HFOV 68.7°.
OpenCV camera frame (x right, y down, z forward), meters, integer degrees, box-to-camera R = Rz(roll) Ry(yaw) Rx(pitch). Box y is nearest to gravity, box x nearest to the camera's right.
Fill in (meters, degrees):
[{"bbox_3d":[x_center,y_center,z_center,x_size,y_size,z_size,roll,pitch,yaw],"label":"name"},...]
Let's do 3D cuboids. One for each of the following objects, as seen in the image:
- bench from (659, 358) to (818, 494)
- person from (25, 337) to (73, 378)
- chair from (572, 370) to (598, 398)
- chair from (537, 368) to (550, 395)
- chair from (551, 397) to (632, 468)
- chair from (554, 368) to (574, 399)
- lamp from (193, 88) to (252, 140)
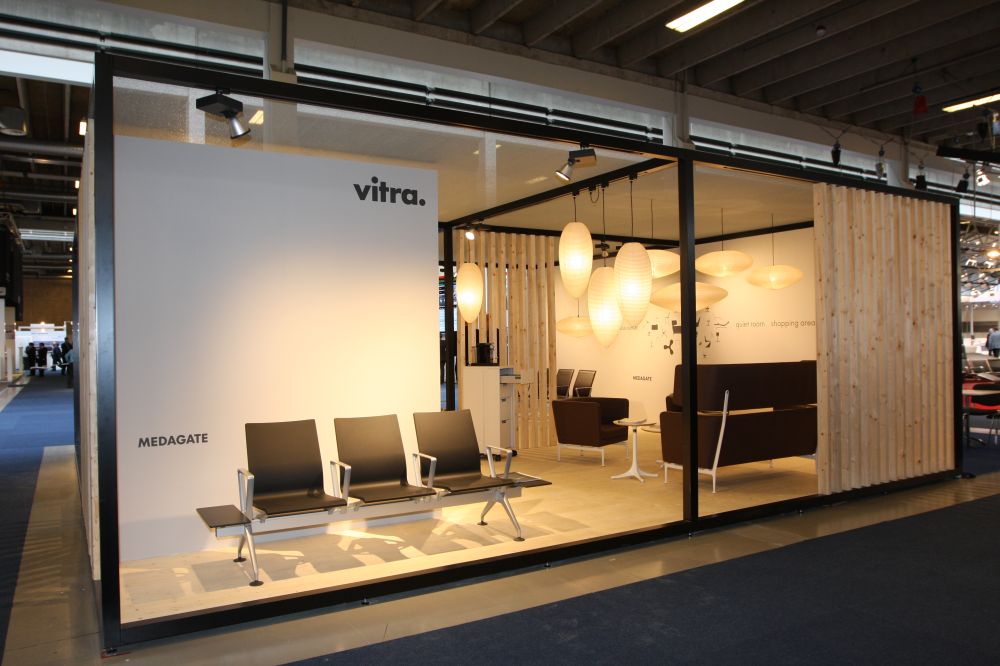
[{"bbox_3d":[3.375,1.111,9.659,1.977,1.564,0.377,-6,12,-29],"label":"bench"},{"bbox_3d":[-18.470,0.952,29.947,1.701,1.165,0.911,2,-5,-38],"label":"person"},{"bbox_3d":[1.629,0.993,14.294,0.422,0.655,0.515,-5,-17,37],"label":"chair"},{"bbox_3d":[0.755,0.867,12.843,0.314,0.457,0.187,-4,11,-20],"label":"chair"},{"bbox_3d":[1.476,1.498,11.245,1.022,0.879,1.022,-5,-5,44],"label":"chair"},{"bbox_3d":[1.247,0.964,14.305,0.357,0.521,0.493,-7,-14,28],"label":"chair"},{"bbox_3d":[-2.426,-1.904,6.391,0.367,0.335,0.435,-2,10,-10],"label":"lamp"}]
